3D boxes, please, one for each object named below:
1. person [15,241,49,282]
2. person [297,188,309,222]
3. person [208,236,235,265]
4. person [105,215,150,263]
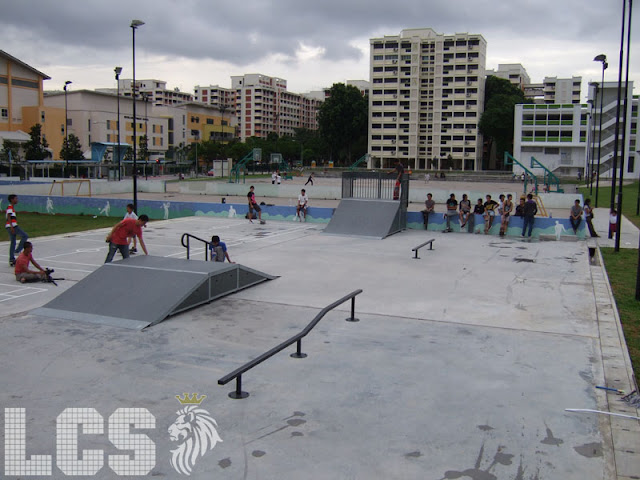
[{"bbox_3d":[-7.688,0.613,14.860,0.845,1.093,0.630,-2,12,-17],"label":"person"},{"bbox_3d":[-0.863,-1.796,28.630,0.513,1.610,0.716,4,12,15],"label":"person"},{"bbox_3d":[-2.751,0.234,15.377,0.409,0.759,1.104,-2,12,-14],"label":"person"},{"bbox_3d":[-5.372,-0.038,15.565,1.391,1.400,0.807,8,14,31],"label":"person"}]
